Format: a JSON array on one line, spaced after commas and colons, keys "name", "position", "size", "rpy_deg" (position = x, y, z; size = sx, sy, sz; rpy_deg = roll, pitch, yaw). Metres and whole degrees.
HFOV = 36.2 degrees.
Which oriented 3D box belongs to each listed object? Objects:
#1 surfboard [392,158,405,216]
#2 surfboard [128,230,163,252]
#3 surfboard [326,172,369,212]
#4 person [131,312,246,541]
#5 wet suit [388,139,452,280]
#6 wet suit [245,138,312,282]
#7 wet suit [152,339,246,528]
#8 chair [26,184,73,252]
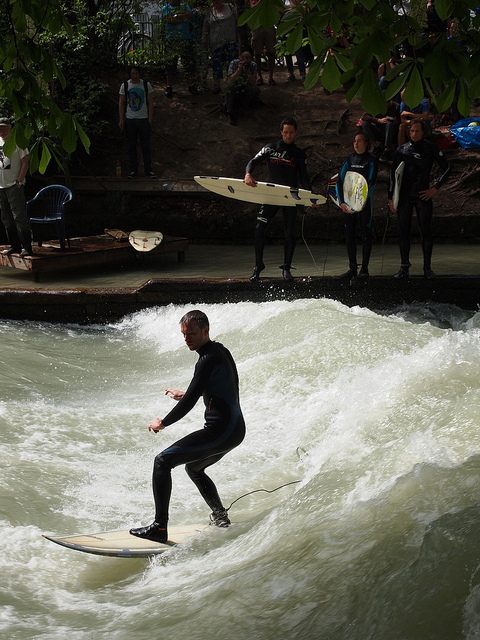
[{"name": "surfboard", "position": [1.977, -1.690, 9.090], "size": [0.057, 0.568, 0.526], "rpy_deg": [11, 36, 3]}, {"name": "surfboard", "position": [-1.494, -1.279, 11.639], "size": [0.353, 0.051, 0.463], "rpy_deg": [6, 33, 0]}, {"name": "surfboard", "position": [1.340, -1.609, 9.153], "size": [0.230, 0.489, 0.648], "rpy_deg": [-9, 13, -23]}, {"name": "person", "position": [-0.294, 0.642, 4.442], "size": [0.723, 1.347, 0.326], "rpy_deg": [-15, 17, -41]}, {"name": "wet suit", "position": [2.290, -1.382, 9.195], "size": [0.769, 1.774, 0.725], "rpy_deg": [4, 15, 31]}, {"name": "wet suit", "position": [0.505, -1.403, 9.369], "size": [0.841, 1.796, 0.667], "rpy_deg": [-3, 13, 1]}, {"name": "wet suit", "position": [-0.226, 0.709, 4.478], "size": [0.723, 1.124, 0.273], "rpy_deg": [-15, 17, -41]}, {"name": "chair", "position": [-2.860, -1.561, 11.112], "size": [0.732, 0.856, 0.643], "rpy_deg": [12, 20, 28]}]
